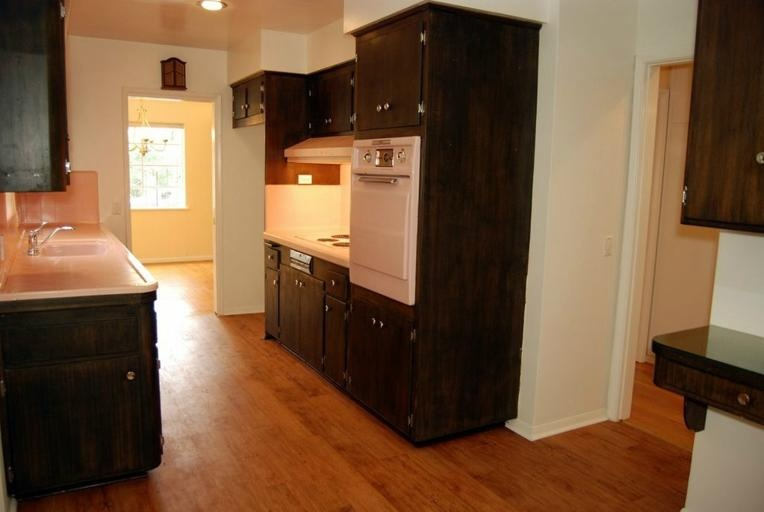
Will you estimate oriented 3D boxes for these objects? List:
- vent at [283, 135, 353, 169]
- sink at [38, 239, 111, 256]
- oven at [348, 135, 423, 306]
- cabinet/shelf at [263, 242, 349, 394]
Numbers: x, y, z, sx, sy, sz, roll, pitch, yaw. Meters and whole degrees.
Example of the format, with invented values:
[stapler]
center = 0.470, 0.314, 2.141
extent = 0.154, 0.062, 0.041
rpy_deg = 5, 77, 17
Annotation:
[vent]
center = -0.640, -1.019, 5.558
extent = 0.178, 0.197, 0.590
rpy_deg = 3, 3, -32
[sink]
center = -2.533, -0.069, 4.743
extent = 0.314, 0.115, 0.199
rpy_deg = -1, 3, -38
[oven]
center = 0.145, -0.295, 4.196
extent = 0.545, 1.103, 0.755
rpy_deg = -4, 10, -35
[cabinet/shelf]
center = -0.642, 0.538, 5.008
extent = 0.403, 0.742, 1.163
rpy_deg = 0, 7, -27
